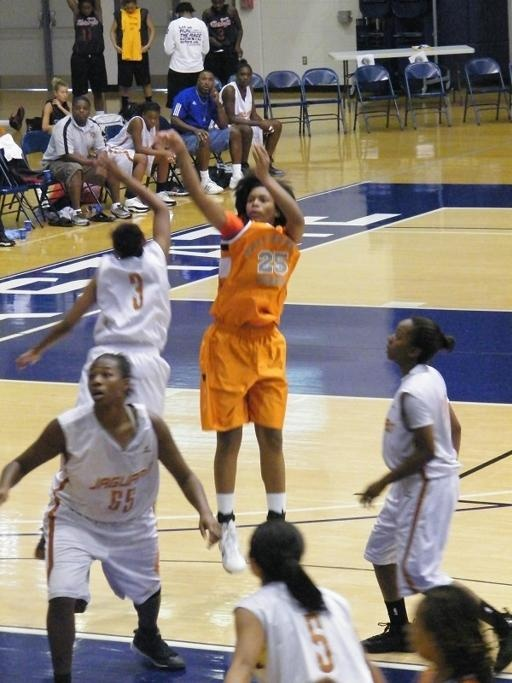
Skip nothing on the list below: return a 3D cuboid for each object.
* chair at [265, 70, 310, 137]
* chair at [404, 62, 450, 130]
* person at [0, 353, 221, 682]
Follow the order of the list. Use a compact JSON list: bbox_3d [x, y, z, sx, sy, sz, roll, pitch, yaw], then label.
[{"bbox_3d":[0.637,-5.006,16.541,0.989,1.229,1.088,-15,26,-28],"label":"chair"},{"bbox_3d":[3.605,-5.171,16.577,0.984,1.256,1.125,4,25,21],"label":"chair"},{"bbox_3d":[-0.409,0.519,2.198,0.552,0.942,0.320,-3,6,-16],"label":"person"}]
